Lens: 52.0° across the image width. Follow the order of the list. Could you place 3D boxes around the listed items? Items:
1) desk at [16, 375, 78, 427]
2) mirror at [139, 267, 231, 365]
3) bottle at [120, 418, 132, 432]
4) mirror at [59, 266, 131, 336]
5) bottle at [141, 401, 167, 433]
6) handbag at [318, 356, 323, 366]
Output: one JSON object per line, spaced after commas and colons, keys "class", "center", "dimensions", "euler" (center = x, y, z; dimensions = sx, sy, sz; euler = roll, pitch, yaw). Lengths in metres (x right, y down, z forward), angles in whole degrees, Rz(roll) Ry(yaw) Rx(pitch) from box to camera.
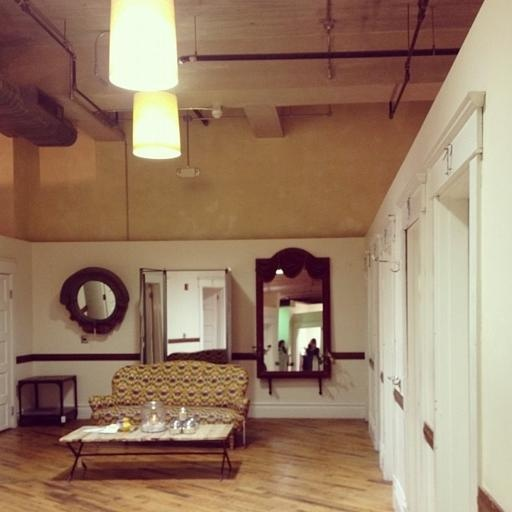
{"class": "desk", "center": [-3.262, 2.311, 8.216], "dimensions": [0.636, 0.758, 0.733], "euler": [-1, -12, -3]}
{"class": "mirror", "center": [-1.076, 0.982, 8.004], "dimensions": [1.116, 1.635, 0.554], "euler": [1, -4, -5]}
{"class": "bottle", "center": [-1.379, 1.825, 5.606], "dimensions": [0.131, 0.097, 0.234], "euler": [0, -4, -15]}
{"class": "mirror", "center": [-2.631, 0.767, 8.731], "dimensions": [0.913, 1.168, 0.229], "euler": [-8, 1, 6]}
{"class": "bottle", "center": [-1.098, 1.750, 5.640], "dimensions": [0.257, 0.264, 0.308], "euler": [0, -3, -13]}
{"class": "handbag", "center": [1.030, 1.681, 8.305], "dimensions": [0.079, 0.145, 0.031], "euler": [-1, -4, 13]}
